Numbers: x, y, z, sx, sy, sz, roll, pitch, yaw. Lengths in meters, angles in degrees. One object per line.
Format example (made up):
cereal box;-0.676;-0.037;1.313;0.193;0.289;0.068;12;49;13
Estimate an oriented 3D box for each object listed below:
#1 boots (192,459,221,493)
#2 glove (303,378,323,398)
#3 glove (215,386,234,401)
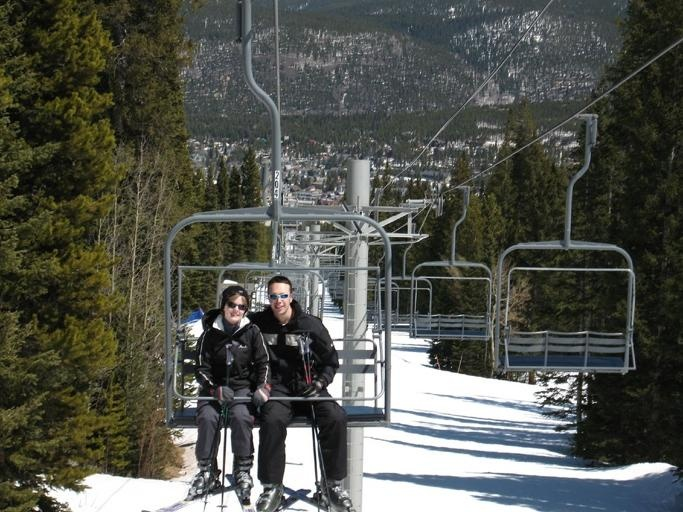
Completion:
boots;-2.672;4.171;21.095;0.674;0.765;0.316;-6;1;-35
glove;-0.559;2.542;21.110;0.311;0.301;0.233;7;6;21
glove;-2.244;2.630;20.976;0.219;0.298;0.311;13;40;-28
